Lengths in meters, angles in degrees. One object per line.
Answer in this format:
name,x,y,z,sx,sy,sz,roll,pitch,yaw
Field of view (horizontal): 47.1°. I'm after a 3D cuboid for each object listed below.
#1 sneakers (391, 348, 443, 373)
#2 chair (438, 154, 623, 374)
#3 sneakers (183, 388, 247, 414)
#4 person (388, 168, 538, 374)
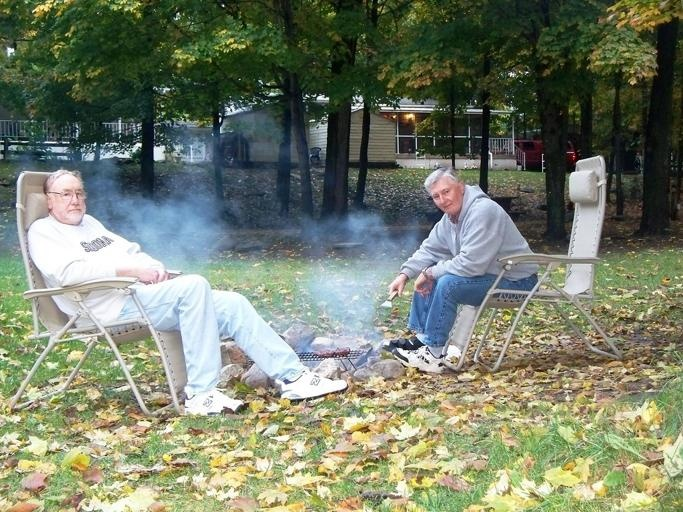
sneakers,0.630,0.816,6.298,0.424,0.180,0.153,17,-4,14
chair,1.608,0.058,6.543,1.383,1.578,1.047,-7,4,2
sneakers,-0.862,0.993,5.334,0.376,0.155,0.157,-3,6,1
person,0.940,0.080,6.397,1.111,1.586,0.868,1,10,14
